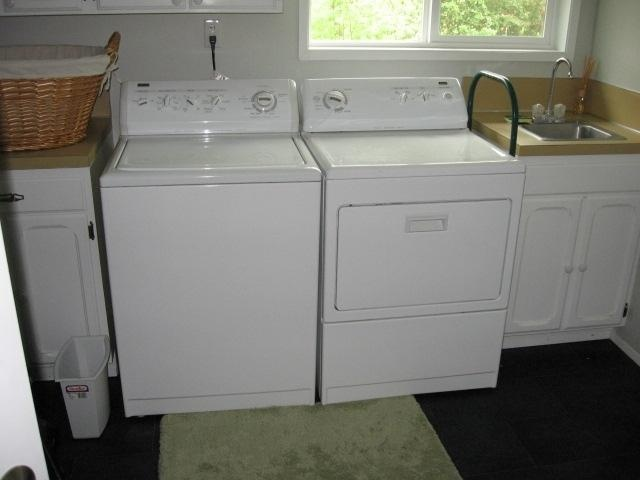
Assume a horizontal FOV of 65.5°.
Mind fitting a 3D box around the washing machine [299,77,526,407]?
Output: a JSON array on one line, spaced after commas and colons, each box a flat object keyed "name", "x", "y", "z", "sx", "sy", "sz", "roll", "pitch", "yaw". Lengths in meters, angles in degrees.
[{"name": "washing machine", "x": 0.411, "y": 0.011, "z": 2.397, "sx": 0.916, "sy": 1.249, "sz": 0.809, "roll": -3, "pitch": 25, "yaw": -1}]

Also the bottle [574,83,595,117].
[{"name": "bottle", "x": 1.514, "y": -0.830, "z": 2.867, "sx": 0.071, "sy": 0.192, "sz": 0.136, "roll": 10, "pitch": 27, "yaw": 25}]

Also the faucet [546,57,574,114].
[{"name": "faucet", "x": 1.310, "y": -0.849, "z": 2.722, "sx": 0.104, "sy": 0.295, "sz": 0.514, "roll": 9, "pitch": 27, "yaw": 23}]

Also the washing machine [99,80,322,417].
[{"name": "washing machine", "x": -0.446, "y": 0.005, "z": 2.310, "sx": 0.904, "sy": 1.333, "sz": 0.810, "roll": -4, "pitch": 25, "yaw": -3}]
